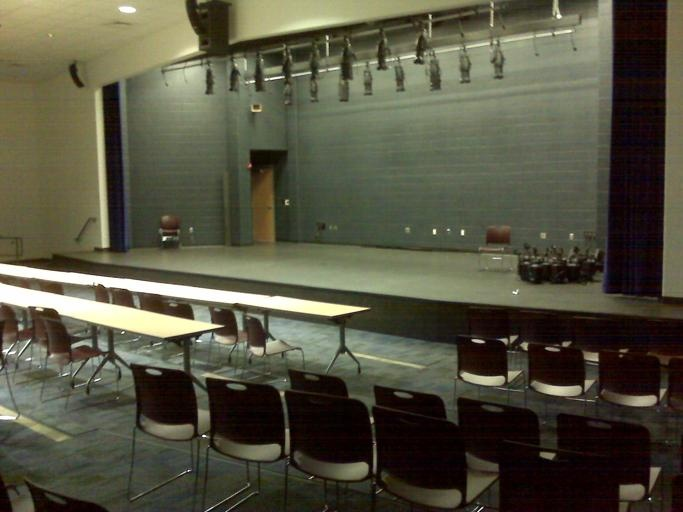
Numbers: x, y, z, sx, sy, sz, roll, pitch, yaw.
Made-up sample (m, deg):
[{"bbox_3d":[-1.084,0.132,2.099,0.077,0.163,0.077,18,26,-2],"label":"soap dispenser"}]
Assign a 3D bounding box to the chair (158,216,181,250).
[{"bbox_3d":[-4.670,-0.666,16.736,0.630,0.859,0.453,-4,8,-3],"label":"chair"}]
